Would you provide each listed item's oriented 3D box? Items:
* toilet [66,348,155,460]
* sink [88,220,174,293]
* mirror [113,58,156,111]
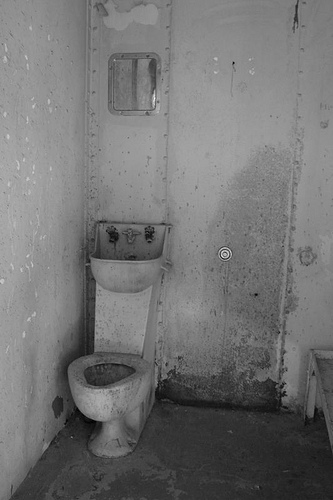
[{"bbox_3d":[-0.225,0.632,1.877,0.232,0.355,0.346,4,9,11],"label":"toilet"},{"bbox_3d":[-0.152,0.052,2.069,0.366,0.313,0.415,2,8,-1],"label":"sink"},{"bbox_3d":[-0.146,-0.754,2.141,0.230,0.367,0.016,-1,-24,-3],"label":"mirror"}]
